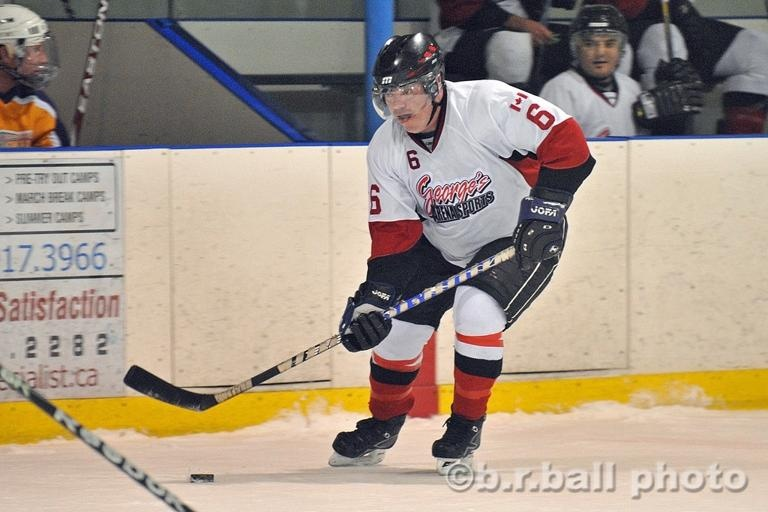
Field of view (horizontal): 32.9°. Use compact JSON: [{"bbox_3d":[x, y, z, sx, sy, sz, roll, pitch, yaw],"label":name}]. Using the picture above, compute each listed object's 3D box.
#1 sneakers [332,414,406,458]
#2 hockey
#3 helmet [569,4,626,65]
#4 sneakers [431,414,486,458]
[{"bbox_3d":[-0.065,0.864,6.279,0.453,0.157,0.126,-12,44,-12],"label":"sneakers"},{"bbox_3d":[-0.390,0.327,6.408,2.041,0.326,0.184,-20,-7,1],"label":"hockey"},{"bbox_3d":[1.115,-1.203,7.157,0.348,0.281,0.372,1,0,6],"label":"helmet"},{"bbox_3d":[0.341,0.855,6.112,0.226,0.204,0.127,3,12,2],"label":"sneakers"}]
